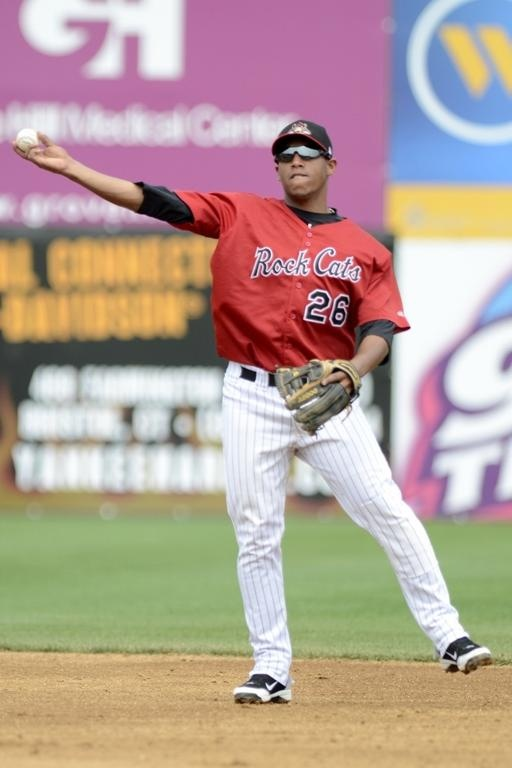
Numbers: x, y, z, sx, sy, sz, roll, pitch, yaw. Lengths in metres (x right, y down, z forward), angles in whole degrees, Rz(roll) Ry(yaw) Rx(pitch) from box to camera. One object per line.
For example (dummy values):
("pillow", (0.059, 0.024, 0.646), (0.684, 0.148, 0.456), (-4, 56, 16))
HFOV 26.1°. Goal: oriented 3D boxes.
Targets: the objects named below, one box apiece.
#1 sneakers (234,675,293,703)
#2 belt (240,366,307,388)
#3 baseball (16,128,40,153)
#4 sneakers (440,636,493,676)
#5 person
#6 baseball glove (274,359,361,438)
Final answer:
("sneakers", (0.027, 0.909, 3.313), (0.190, 0.085, 0.074), (17, -20, -37))
("belt", (0.025, -0.025, 3.294), (0.119, 0.039, 0.083), (14, -16, 9))
("baseball", (-0.649, -0.713, 3.181), (0.068, 0.074, 0.041), (-2, -12, -1))
("sneakers", (0.593, 0.785, 3.190), (0.078, 0.085, 0.183), (-25, -7, -28))
("person", (0.038, 0.098, 3.321), (0.940, 1.599, 1.030), (-11, 30, -10))
("baseball glove", (0.219, 0.012, 3.166), (0.184, 0.081, 0.150), (-35, 29, 10))
